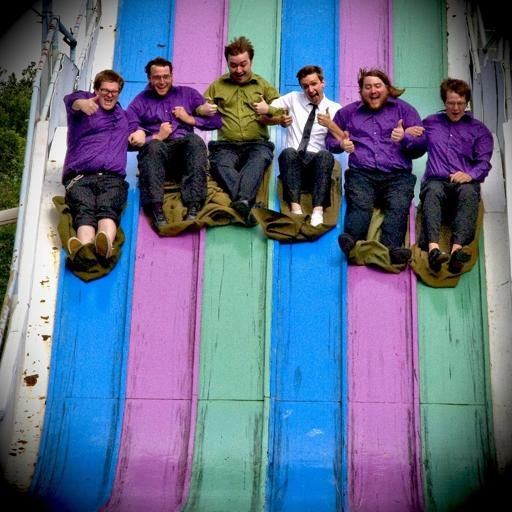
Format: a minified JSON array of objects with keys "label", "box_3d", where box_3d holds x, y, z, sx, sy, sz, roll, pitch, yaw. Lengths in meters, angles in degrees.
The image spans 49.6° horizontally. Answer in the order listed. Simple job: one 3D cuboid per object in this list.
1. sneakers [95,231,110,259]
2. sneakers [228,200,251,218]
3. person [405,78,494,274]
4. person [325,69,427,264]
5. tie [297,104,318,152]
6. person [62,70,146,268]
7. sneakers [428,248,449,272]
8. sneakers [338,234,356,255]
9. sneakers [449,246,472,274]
[{"label":"sneakers","box_3d":[-0.893,-0.069,3.257,0.063,0.174,0.072,3,24,4]},{"label":"sneakers","box_3d":[-0.101,-0.280,3.341,0.040,0.088,0.110,-29,15,-29]},{"label":"person","box_3d":[1.195,-0.511,3.327,0.422,1.231,0.531,-2,-5,25]},{"label":"person","box_3d":[0.745,-0.573,3.473,0.538,1.361,0.504,1,-20,11]},{"label":"tie","box_3d":[0.352,-0.838,3.687,0.067,0.442,0.057,14,-17,8]},{"label":"person","box_3d":[-0.997,-0.576,3.450,0.400,1.214,0.366,1,-5,-18]},{"label":"sneakers","box_3d":[1.041,0.032,3.159,0.057,0.080,0.182,2,-31,5]},{"label":"sneakers","box_3d":[0.518,-0.072,3.193,0.060,0.058,0.140,30,-28,23]},{"label":"sneakers","box_3d":[1.147,0.032,3.164,0.074,0.094,0.234,8,-29,3]}]
